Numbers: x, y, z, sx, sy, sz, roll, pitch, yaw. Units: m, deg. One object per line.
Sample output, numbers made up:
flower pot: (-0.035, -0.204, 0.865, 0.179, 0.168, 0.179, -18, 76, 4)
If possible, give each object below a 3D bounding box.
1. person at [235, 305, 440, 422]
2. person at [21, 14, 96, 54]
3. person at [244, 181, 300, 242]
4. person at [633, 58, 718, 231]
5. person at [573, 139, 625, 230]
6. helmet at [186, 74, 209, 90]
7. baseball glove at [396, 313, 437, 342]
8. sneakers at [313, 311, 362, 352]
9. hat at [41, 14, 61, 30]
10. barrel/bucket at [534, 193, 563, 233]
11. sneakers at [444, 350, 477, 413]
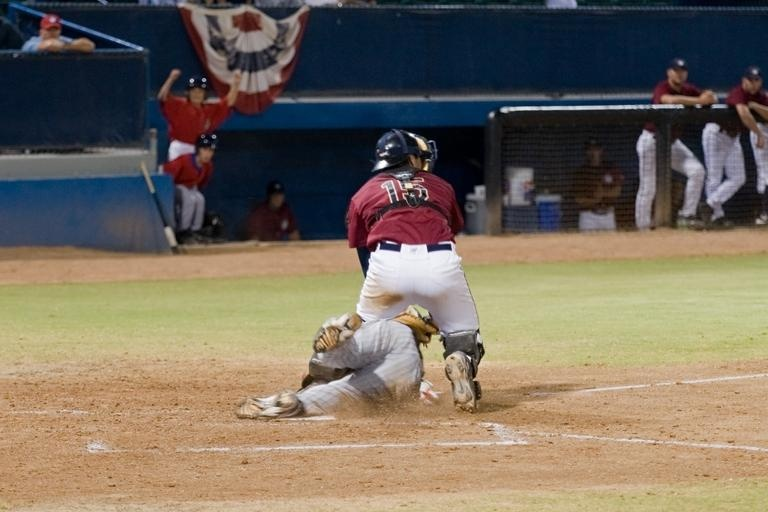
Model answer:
person: (-0.361, 1.130, 15.799, 1.615, 1.032, 0.725, -32, -18, -15)
person: (-4.353, -2.875, 21.266, 0.821, 0.521, 0.988, 0, 1, -25)
person: (-1.714, -0.646, 23.642, 0.911, 1.014, 0.724, -2, 19, -18)
person: (3.977, -1.526, 22.684, 0.808, 2.298, 1.115, 0, 1, -24)
person: (2.989, -1.029, 23.305, 0.706, 1.306, 0.719, 0, 1, 6)
helmet: (-2.620, -2.412, 22.598, 0.286, 0.149, 0.343, 0, -3, -9)
baseball glove: (0.302, 0.681, 15.968, 0.371, 0.127, 0.280, 24, 16, 18)
sneakers: (-0.484, 0.724, 15.759, 0.481, 0.265, 0.187, -35, -9, -16)
hat: (-4.379, -3.037, 21.303, 0.234, 0.149, 0.322, 2, 4, -19)
barrel/bucket: (2.271, -0.615, 23.116, 0.559, 0.641, 0.485, 0, -2, -8)
sneakers: (0.717, 1.200, 15.874, 0.315, 0.576, 0.264, 0, 1, 1)
